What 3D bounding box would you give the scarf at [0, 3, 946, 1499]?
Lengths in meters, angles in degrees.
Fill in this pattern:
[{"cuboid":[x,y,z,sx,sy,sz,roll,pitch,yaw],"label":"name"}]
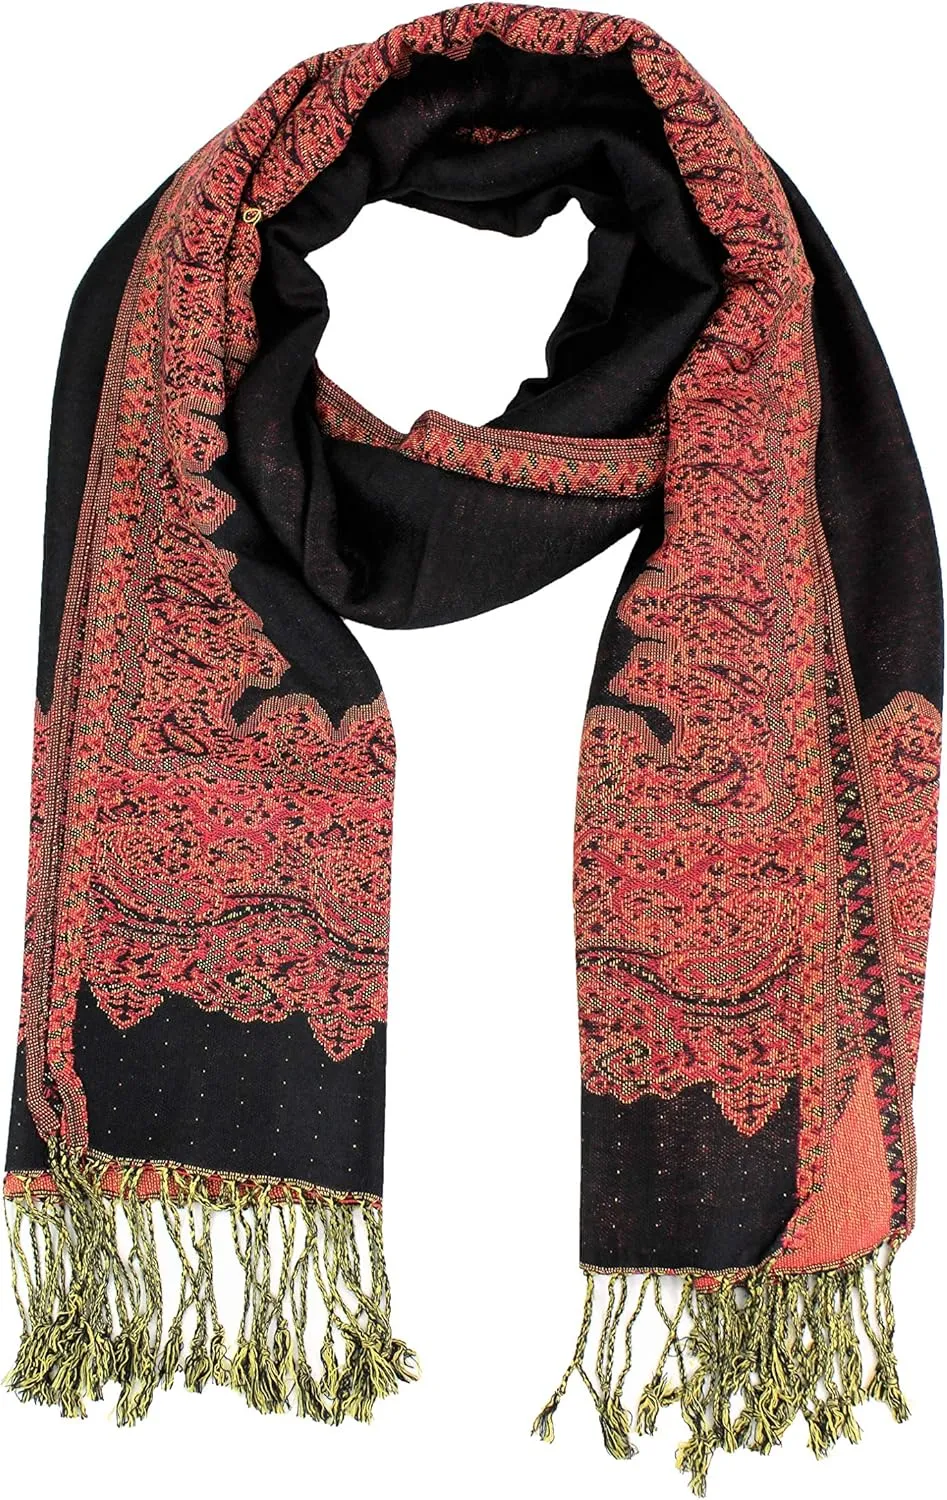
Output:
[{"cuboid":[0.015,-0.005,1.360,0.827,1.079,0.647,6,-33,-5],"label":"scarf"}]
